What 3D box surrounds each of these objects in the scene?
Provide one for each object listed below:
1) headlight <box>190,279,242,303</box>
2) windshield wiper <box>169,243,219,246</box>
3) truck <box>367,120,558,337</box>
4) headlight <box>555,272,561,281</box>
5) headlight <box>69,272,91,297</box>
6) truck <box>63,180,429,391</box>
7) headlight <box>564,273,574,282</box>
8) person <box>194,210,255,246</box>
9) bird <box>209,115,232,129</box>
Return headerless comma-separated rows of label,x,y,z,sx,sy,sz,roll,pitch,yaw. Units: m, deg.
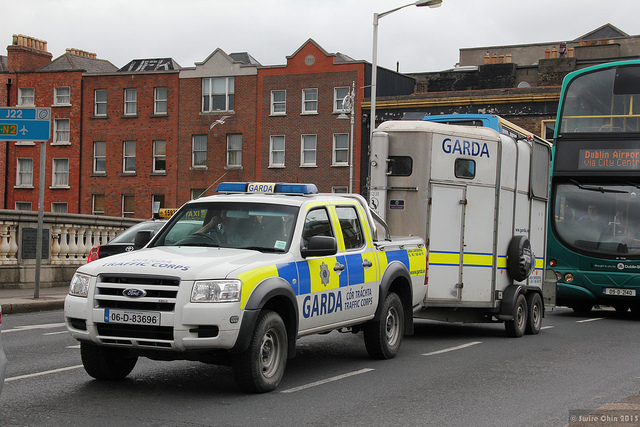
headlight,-1.343,0.988,9.032,0.442,0.193,0.344,-4,-2,6
windshield wiper,-1.812,0.443,10.252,0.678,0.036,0.096,0,2,21
truck,3.652,0.561,16.409,2.764,4.509,5.558,-10,-11,42
headlight,6.832,1.749,20.087,0.138,0.185,0.112,-7,-13,37
headlight,-3.185,0.972,9.526,0.325,0.316,0.119,3,-14,32
truck,-0.731,0.999,10.959,2.836,2.176,5.144,-3,-6,32
headlight,7.097,1.804,20.005,0.241,0.249,0.053,1,3,44
person,-1.367,0.237,10.375,0.532,0.686,0.254,-5,-18,8
bird,-7.242,-6.643,50.734,1.520,0.967,0.694,0,3,23
